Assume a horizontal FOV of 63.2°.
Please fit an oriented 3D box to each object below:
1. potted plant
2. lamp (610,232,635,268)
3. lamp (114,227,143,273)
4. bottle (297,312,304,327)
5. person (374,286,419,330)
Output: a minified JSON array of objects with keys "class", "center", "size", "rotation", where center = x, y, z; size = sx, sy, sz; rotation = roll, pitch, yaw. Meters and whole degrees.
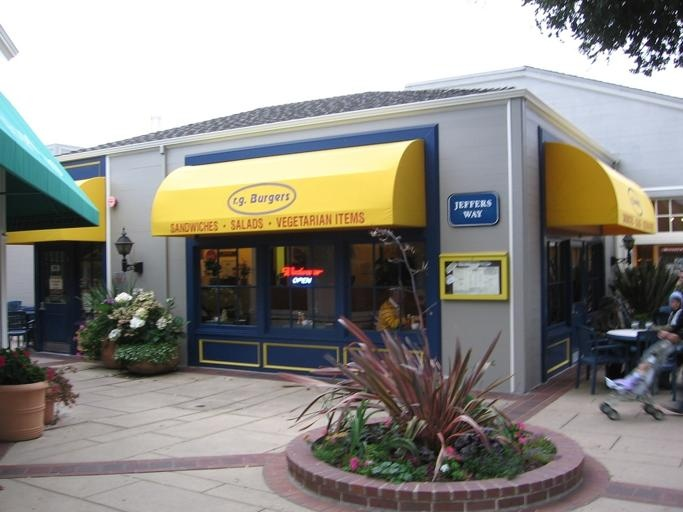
[{"class":"potted plant","center":[-4.687,1.658,12.482],"size":[2.306,1.821,1.328],"rotation":[-1,-1,30]},{"class":"lamp","center":[7.981,-0.118,15.695],"size":[0.649,0.947,1.561],"rotation":[-1,-1,28]},{"class":"lamp","center":[-5.040,-0.107,13.196],"size":[0.588,1.085,0.780],"rotation":[-1,-1,-19]},{"class":"bottle","center":[-0.844,1.290,11.403],"size":[0.158,0.183,0.013],"rotation":[-1,-1,26]},{"class":"person","center":[1.086,1.183,10.623],"size":[0.794,1.035,0.580],"rotation":[5,13,16]}]
